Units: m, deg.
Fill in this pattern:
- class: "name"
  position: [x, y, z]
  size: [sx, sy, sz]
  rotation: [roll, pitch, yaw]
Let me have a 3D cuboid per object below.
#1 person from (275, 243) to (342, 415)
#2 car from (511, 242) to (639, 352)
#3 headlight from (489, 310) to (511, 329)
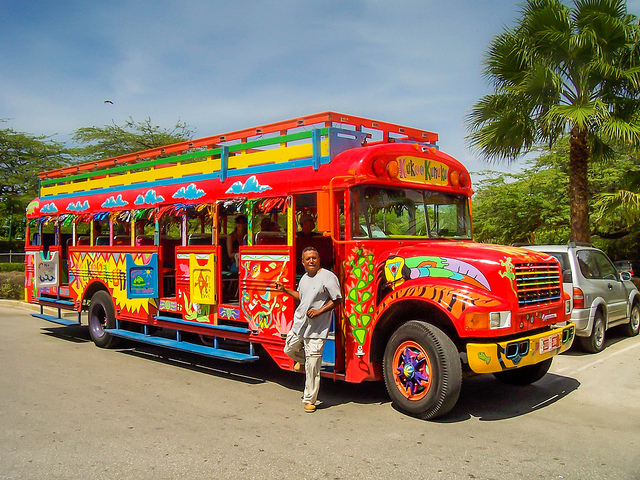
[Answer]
- class: "person"
  position: [-0.168, 1.271, 7.427]
  size: [0.915, 2.300, 1.284]
  rotation: [0, 1, -5]
- class: "car"
  position: [5.806, 1.082, 11.240]
  size: [3.443, 1.931, 2.080]
  rotation: [-4, 3, -42]
- class: "headlight"
  position: [2.243, 0.987, 6.109]
  size: [0.361, 0.258, 0.194]
  rotation: [0, -1, -35]
